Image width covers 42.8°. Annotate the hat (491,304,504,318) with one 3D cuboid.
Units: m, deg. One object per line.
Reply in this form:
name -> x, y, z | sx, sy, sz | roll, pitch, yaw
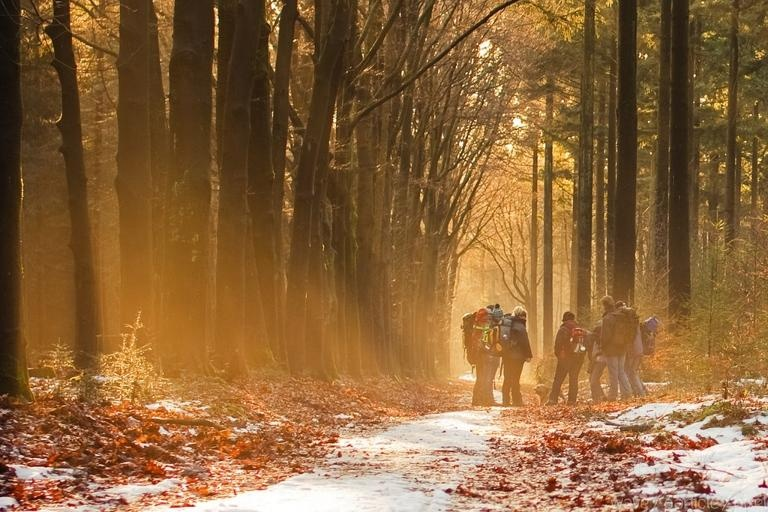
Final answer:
hat -> 3.074, 1.468, 26.203 | 0.299, 0.152, 0.415 | 2, 6, 9
